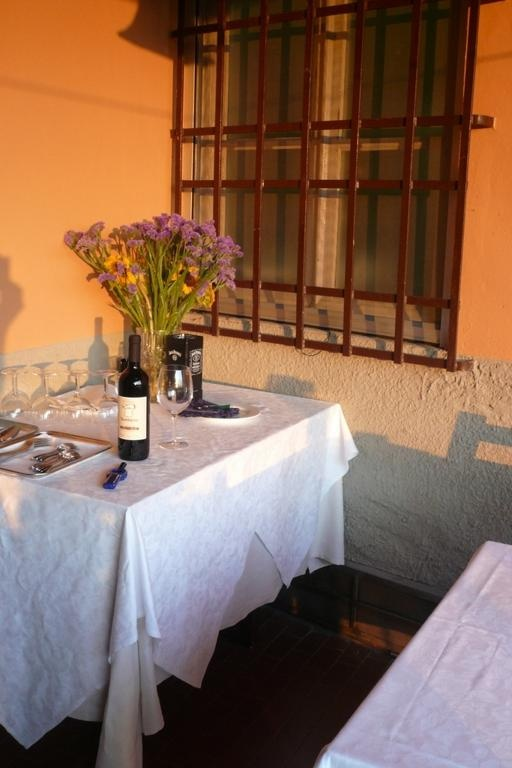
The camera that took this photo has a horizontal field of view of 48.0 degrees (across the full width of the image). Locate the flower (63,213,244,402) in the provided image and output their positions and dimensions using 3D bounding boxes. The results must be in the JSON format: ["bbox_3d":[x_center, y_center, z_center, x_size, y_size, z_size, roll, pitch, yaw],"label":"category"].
[{"bbox_3d":[-0.343,-0.244,2.065,0.579,0.724,0.605,17,23,22],"label":"flower"}]
